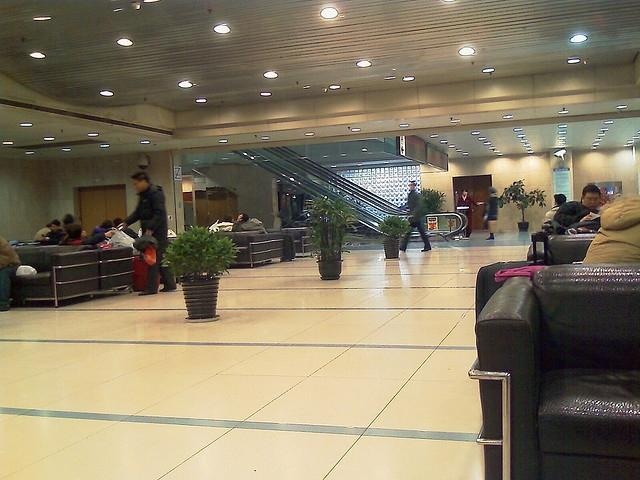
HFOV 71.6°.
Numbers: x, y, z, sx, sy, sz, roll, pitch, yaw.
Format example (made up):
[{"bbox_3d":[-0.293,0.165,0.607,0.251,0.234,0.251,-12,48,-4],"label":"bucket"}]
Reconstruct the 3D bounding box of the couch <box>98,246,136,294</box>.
[{"bbox_3d":[-4.356,0.597,9.022,0.614,0.798,0.976,1,2,13],"label":"couch"}]

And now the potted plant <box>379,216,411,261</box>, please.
[{"bbox_3d":[2.208,-0.086,13.130,0.840,1.257,0.578,-4,4,10],"label":"potted plant"}]

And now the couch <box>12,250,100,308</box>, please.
[{"bbox_3d":[-5.267,0.636,8.330,1.707,0.914,1.079,-3,7,8],"label":"couch"}]

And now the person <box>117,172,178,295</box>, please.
[{"bbox_3d":[-3.261,-0.116,8.420,1.109,2.220,0.835,2,3,-3],"label":"person"}]

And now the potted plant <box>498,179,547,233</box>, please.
[{"bbox_3d":[10.850,-1.822,23.657,2.205,2.750,1.005,-3,5,22],"label":"potted plant"}]

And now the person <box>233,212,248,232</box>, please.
[{"bbox_3d":[-2.560,-0.570,14.241,0.408,0.447,1.154,24,4,-1],"label":"person"}]

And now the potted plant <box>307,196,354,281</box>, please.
[{"bbox_3d":[0.262,-0.044,9.507,0.840,1.761,0.594,-5,4,-1],"label":"potted plant"}]

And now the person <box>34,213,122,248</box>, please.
[{"bbox_3d":[-5.737,-0.145,9.814,1.960,0.545,1.259,1,1,14],"label":"person"}]
